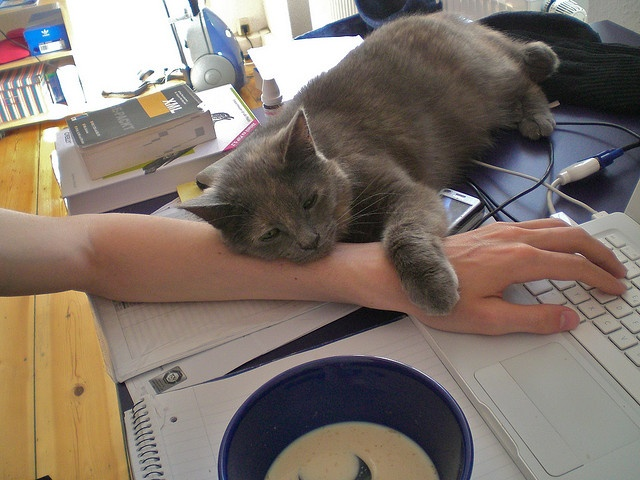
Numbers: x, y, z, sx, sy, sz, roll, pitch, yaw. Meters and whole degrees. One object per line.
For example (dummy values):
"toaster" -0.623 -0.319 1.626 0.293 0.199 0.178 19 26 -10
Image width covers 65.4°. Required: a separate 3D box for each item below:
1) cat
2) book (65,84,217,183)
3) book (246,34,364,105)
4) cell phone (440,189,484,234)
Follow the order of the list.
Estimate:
"cat" 0.286 -0.387 1.492 0.630 0.532 1.242 1 46 48
"book" -0.524 -0.323 1.558 0.389 0.102 0.266 -20 37 -8
"book" -0.020 -0.673 1.896 0.396 0.107 0.386 -13 38 6
"cell phone" 0.366 -0.076 1.296 0.105 0.025 0.107 25 59 41
